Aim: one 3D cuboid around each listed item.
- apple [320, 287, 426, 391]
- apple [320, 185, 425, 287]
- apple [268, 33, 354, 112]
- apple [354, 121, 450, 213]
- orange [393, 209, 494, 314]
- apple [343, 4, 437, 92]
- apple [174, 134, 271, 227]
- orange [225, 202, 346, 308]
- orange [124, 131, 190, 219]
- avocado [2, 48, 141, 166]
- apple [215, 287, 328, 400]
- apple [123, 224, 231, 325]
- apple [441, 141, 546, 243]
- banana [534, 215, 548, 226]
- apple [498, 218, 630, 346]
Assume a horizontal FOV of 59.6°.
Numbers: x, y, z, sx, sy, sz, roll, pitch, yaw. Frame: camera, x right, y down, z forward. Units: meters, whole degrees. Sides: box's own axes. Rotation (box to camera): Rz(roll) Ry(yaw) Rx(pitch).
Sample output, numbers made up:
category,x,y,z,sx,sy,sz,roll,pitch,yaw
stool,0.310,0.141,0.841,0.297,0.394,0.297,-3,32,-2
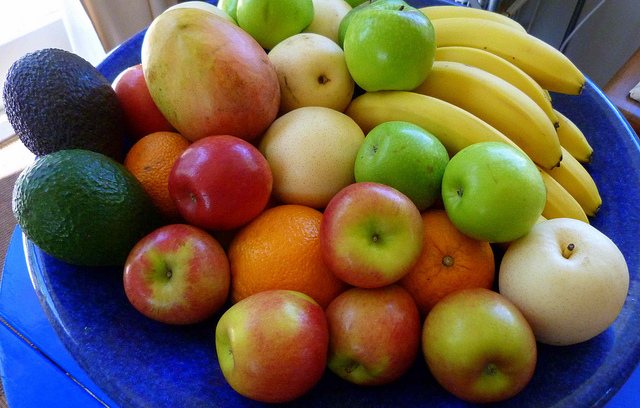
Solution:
category,x,y,z,sx,sy,sz,roll,pitch,yaw
apple,0.156,0.339,1.421,0.205,0.218,0.214,-6,87,-8
apple,0.125,0.075,1.453,0.234,0.222,0.241,44,87,-13
apple,-0.020,-0.395,1.657,0.221,0.226,0.254,-21,38,-31
apple,0.218,-0.107,1.512,0.199,0.223,0.224,7,39,14
orange,0.323,0.130,1.494,0.228,0.247,0.233,-3,15,34
apple,0.163,-0.422,1.524,0.255,0.234,0.230,-5,36,-7
apple,-0.260,-0.062,1.501,0.208,0.225,0.231,-17,68,-23
orange,-0.084,0.136,1.407,0.240,0.255,0.277,-7,61,-3
orange,-0.431,-0.101,1.617,0.228,0.199,0.212,17,86,-17
avocado,-0.706,-0.322,1.677,0.412,0.308,0.401,-26,38,-32
apple,-0.109,0.332,1.319,0.266,0.102,0.242,-20,64,-12
apple,-0.358,0.176,1.396,0.257,0.112,0.227,-20,64,-12
apple,0.443,-0.060,1.474,0.232,0.238,0.251,4,99,12
banana,0.584,0.042,1.480,0.032,0.032,0.019,-17,94,-18
apple,0.613,0.210,1.474,0.288,0.235,0.307,-2,79,4
